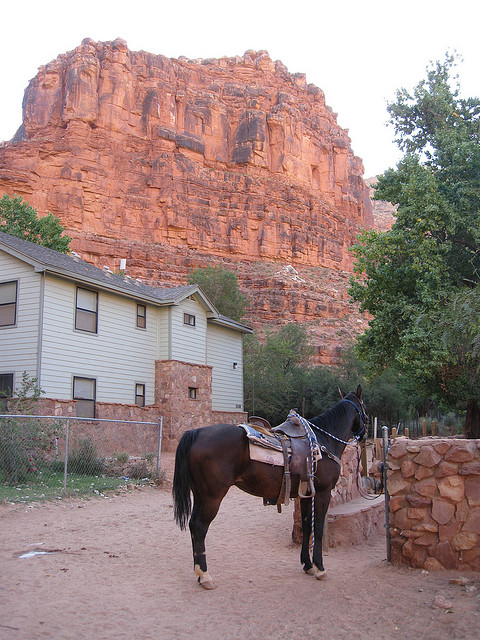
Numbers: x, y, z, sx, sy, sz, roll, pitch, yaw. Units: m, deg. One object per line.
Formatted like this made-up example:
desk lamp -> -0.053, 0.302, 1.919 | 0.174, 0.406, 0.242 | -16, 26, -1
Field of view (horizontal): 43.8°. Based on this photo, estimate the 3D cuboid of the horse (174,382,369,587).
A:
horse -> 0.521, 1.899, 6.956 | 2.462, 2.217, 0.831 | 3, -9, -17

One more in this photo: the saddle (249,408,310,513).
saddle -> 0.598, 1.469, 7.231 | 0.417, 0.907, 1.441 | 0, 2, 13
